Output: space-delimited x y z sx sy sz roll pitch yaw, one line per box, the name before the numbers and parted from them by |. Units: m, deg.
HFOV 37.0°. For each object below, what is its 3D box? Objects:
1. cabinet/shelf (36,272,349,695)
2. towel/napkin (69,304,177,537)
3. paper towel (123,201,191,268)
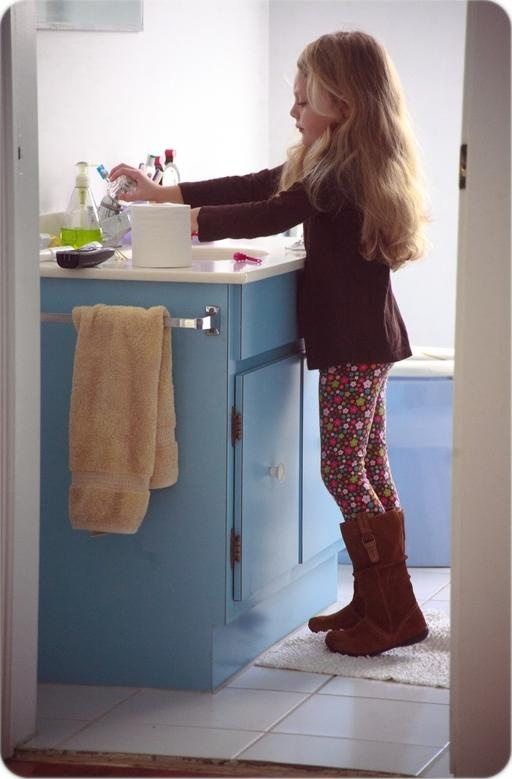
cabinet/shelf | -0.144 0.222 1.816 0.480 0.779 0.836 1 -8 11
towel/napkin | -0.240 0.061 1.379 0.194 0.419 0.138 -1 1 5
paper towel | -0.167 -0.274 1.368 0.125 0.120 0.114 3 18 6
